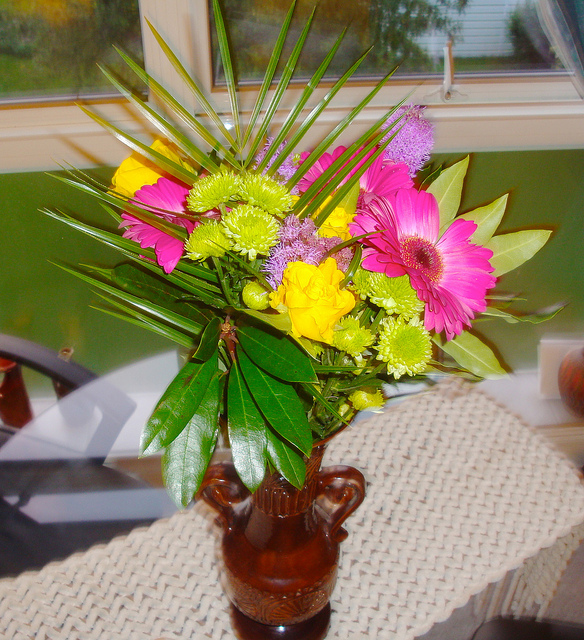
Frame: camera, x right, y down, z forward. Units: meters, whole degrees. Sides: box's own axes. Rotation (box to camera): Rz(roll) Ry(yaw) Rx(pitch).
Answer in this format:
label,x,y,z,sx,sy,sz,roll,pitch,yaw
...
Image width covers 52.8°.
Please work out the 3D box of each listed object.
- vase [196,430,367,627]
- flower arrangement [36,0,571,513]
label,x,y,z,sx,sy,sz,roll,pitch,yaw
vase,-0.024,0.265,0.746,0.237,0.223,0.133,0,4,-15
flower arrangement,-0.030,-0.067,0.779,0.631,0.463,0.483,-12,77,4
